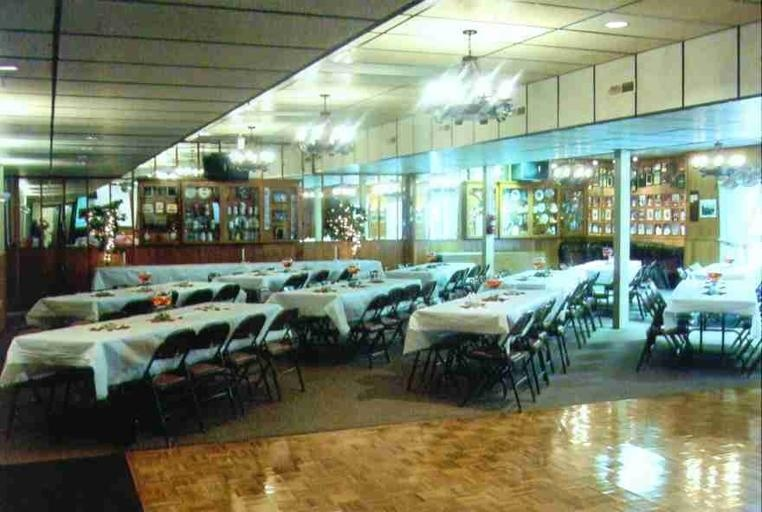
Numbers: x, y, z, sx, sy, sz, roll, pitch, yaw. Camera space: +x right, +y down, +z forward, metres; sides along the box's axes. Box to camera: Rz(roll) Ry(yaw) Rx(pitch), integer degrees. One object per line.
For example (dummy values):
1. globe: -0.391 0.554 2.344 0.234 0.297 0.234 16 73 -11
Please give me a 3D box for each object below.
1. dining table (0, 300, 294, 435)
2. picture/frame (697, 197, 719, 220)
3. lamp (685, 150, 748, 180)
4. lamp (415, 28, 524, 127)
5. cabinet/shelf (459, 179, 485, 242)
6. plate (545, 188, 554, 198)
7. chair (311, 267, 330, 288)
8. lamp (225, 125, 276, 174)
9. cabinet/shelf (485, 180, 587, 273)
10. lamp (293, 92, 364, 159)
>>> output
1. dining table: -2.718 0.990 7.491 1.377 0.600 2.383 2 5 37
2. picture/frame: 8.633 -1.256 16.913 0.038 0.573 0.505 4 -16 -33
3. lamp: 7.581 -2.082 14.465 0.980 0.626 1.192 1 10 2
4. lamp: 1.230 -2.562 8.898 1.325 1.212 1.350 -1 -7 34
5. cabinet/shelf: 2.698 -1.372 19.161 0.633 1.716 0.467 -1 11 -9
6. plate: 5.209 -1.964 19.937 0.260 0.272 0.094 14 2 0
7. chair: -1.198 0.432 12.598 0.283 0.172 0.474 0 5 3
8. lamp: -2.945 -2.445 14.556 0.839 1.001 0.868 4 11 13
9. cabinet/shelf: 4.474 -0.844 18.768 2.672 2.618 1.064 0 -3 -10
10. lamp: -1.086 -2.622 12.442 0.904 0.995 0.953 3 11 6
